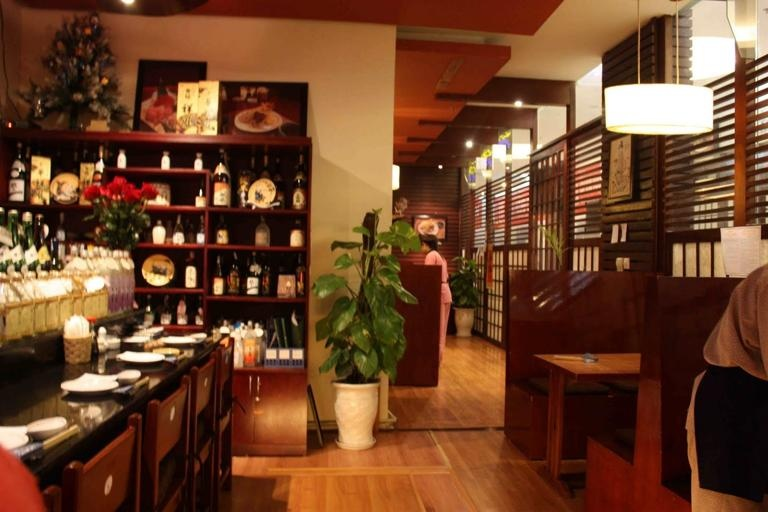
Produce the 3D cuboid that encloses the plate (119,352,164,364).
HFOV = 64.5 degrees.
[{"bbox_3d":[-1.514,0.639,3.792,0.175,0.041,0.126,12,7,-7],"label":"plate"}]

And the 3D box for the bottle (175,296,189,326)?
[{"bbox_3d":[-1.903,0.513,5.706,0.103,0.218,0.326,-2,8,-19],"label":"bottle"}]

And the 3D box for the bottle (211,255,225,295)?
[{"bbox_3d":[-1.569,0.181,5.734,0.111,0.348,0.315,-1,8,-15],"label":"bottle"}]

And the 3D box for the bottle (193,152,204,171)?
[{"bbox_3d":[-1.778,-0.908,5.810,0.092,0.175,0.407,-1,8,-17],"label":"bottle"}]

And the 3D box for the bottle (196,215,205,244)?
[{"bbox_3d":[-1.735,-0.252,5.735,0.081,0.245,0.400,-1,8,-18],"label":"bottle"}]

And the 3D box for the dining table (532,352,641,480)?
[{"bbox_3d":[1.564,1.285,5.032,0.978,0.986,1.010,0,-2,-3],"label":"dining table"}]

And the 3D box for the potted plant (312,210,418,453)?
[{"bbox_3d":[-0.186,0.659,5.713,0.934,2.179,0.783,1,8,-1],"label":"potted plant"}]

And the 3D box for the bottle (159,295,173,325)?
[{"bbox_3d":[-2.054,0.495,5.715,0.100,0.238,0.357,-2,8,-19],"label":"bottle"}]

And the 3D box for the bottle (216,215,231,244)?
[{"bbox_3d":[-1.539,-0.248,5.746,0.120,0.257,0.295,-1,8,-16],"label":"bottle"}]

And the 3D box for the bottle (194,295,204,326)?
[{"bbox_3d":[-1.743,0.515,5.699,0.082,0.222,0.384,-1,8,-17],"label":"bottle"}]

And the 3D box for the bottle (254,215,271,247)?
[{"bbox_3d":[-1.156,-0.236,5.762,0.159,0.280,0.414,-1,8,-11],"label":"bottle"}]

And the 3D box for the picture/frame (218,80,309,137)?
[{"bbox_3d":[-1.180,-1.410,5.879,0.586,0.436,0.059,0,-3,2],"label":"picture/frame"}]

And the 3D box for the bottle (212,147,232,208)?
[{"bbox_3d":[-1.545,-0.748,5.775,0.184,0.531,0.389,-1,8,-15],"label":"bottle"}]

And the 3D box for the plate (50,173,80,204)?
[{"bbox_3d":[-2.994,-0.639,5.695,0.258,0.273,0.121,-2,8,-20],"label":"plate"}]

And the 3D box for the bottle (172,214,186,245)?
[{"bbox_3d":[-1.949,-0.258,5.750,0.110,0.255,0.420,-2,8,-19],"label":"bottle"}]

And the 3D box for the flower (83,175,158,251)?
[{"bbox_3d":[-1.981,-0.306,4.518,0.399,0.549,0.229,2,8,9],"label":"flower"}]

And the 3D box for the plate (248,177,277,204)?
[{"bbox_3d":[-1.153,-0.605,5.729,0.273,0.253,0.089,0,8,-10],"label":"plate"}]

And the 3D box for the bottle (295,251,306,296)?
[{"bbox_3d":[-0.802,0.173,5.797,0.091,0.374,0.323,0,8,-8],"label":"bottle"}]

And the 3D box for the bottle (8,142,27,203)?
[{"bbox_3d":[-3.389,-0.774,5.610,0.141,0.545,0.240,-2,8,-20],"label":"bottle"}]

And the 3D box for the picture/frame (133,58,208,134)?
[{"bbox_3d":[-2.078,-1.517,5.856,0.765,0.904,0.041,1,-2,1],"label":"picture/frame"}]

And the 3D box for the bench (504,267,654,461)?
[{"bbox_3d":[1.694,0.934,5.251,1.592,1.622,0.833,0,-1,-8],"label":"bench"}]

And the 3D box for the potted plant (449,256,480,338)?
[{"bbox_3d":[1.578,0.807,11.942,0.625,1.567,0.720,2,8,7],"label":"potted plant"}]

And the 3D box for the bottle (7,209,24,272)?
[{"bbox_3d":[-2.447,-0.120,4.034,0.078,0.383,0.440,-4,9,-32],"label":"bottle"}]

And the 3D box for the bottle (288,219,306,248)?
[{"bbox_3d":[-0.833,-0.217,5.793,0.141,0.228,0.375,0,8,-9],"label":"bottle"}]

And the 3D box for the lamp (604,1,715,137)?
[{"bbox_3d":[2.208,-1.352,4.711,0.746,1.340,0.731,2,3,27],"label":"lamp"}]

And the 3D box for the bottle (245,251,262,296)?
[{"bbox_3d":[-1.243,0.165,5.772,0.158,0.373,0.317,-1,8,-13],"label":"bottle"}]

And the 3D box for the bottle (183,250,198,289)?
[{"bbox_3d":[-1.843,0.132,5.782,0.120,0.319,0.320,-1,8,-18],"label":"bottle"}]
